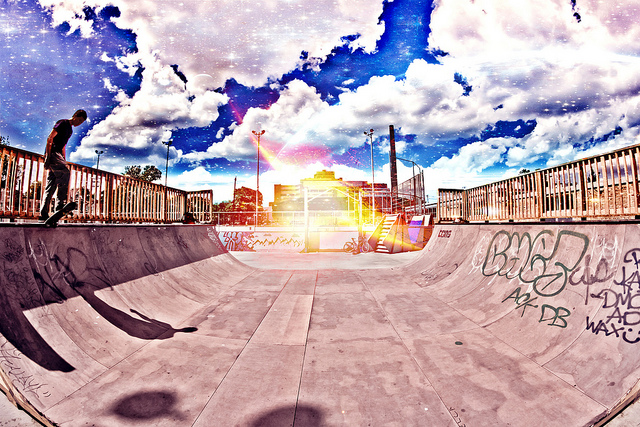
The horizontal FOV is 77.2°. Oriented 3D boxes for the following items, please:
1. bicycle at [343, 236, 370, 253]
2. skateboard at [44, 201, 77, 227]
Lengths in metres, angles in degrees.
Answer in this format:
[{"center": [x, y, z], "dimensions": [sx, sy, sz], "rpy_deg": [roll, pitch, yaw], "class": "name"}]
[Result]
[{"center": [1.871, 1.589, 20.217], "dimensions": [1.305, 0.661, 0.749], "rpy_deg": [-3, -94, 11], "class": "bicycle"}, {"center": [-4.784, 0.032, 7.408], "dimensions": [0.211, 0.683, 0.276], "rpy_deg": [42, -49, -3], "class": "skateboard"}]
